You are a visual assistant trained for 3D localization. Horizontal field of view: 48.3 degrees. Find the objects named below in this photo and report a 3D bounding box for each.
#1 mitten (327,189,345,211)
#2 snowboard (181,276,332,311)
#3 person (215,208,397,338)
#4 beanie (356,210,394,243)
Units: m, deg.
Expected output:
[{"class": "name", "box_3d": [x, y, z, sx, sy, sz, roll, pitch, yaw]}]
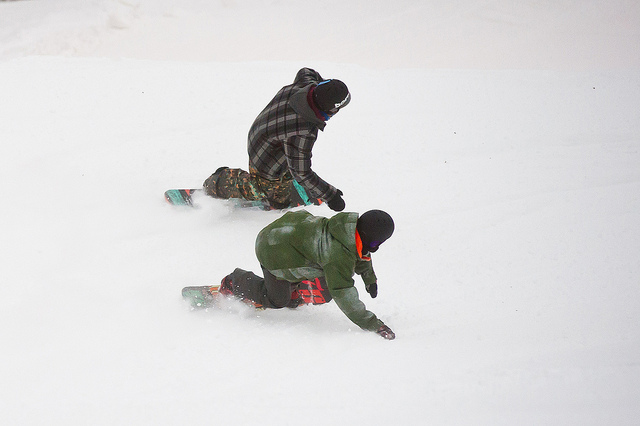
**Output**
[{"class": "mitten", "box_3d": [0.170, -0.132, 7.241, 0.159, 0.212, 0.082, -1, 1, 0]}, {"class": "snowboard", "box_3d": [-0.573, 0.768, 6.754, 0.915, 0.252, 0.254, -2, 33, 7]}, {"class": "person", "box_3d": [-0.164, 0.600, 6.751, 1.771, 1.352, 1.099, 7, 34, 0]}, {"class": "beanie", "box_3d": [0.490, 0.098, 6.486, 0.321, 0.303, 0.268, -5, 12, -15]}]
